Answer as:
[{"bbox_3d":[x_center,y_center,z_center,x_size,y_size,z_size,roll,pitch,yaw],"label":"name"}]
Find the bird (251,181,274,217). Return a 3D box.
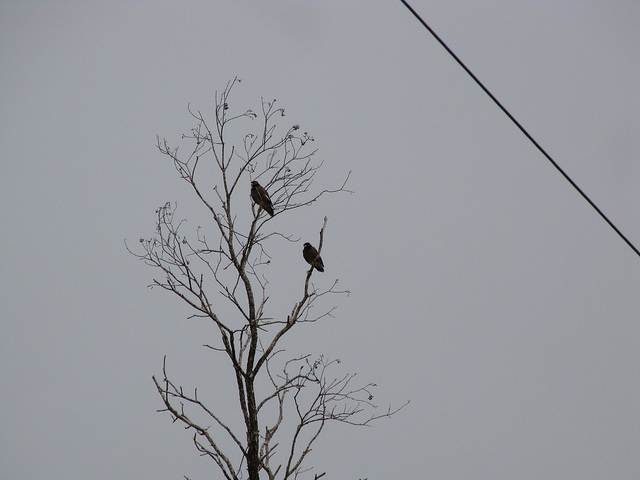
[{"bbox_3d":[-0.413,-0.315,8.945,0.178,0.257,0.107,6,-20,-29],"label":"bird"}]

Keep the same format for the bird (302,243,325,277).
[{"bbox_3d":[-0.057,0.116,9.490,0.100,0.256,0.198,-6,3,39],"label":"bird"}]
